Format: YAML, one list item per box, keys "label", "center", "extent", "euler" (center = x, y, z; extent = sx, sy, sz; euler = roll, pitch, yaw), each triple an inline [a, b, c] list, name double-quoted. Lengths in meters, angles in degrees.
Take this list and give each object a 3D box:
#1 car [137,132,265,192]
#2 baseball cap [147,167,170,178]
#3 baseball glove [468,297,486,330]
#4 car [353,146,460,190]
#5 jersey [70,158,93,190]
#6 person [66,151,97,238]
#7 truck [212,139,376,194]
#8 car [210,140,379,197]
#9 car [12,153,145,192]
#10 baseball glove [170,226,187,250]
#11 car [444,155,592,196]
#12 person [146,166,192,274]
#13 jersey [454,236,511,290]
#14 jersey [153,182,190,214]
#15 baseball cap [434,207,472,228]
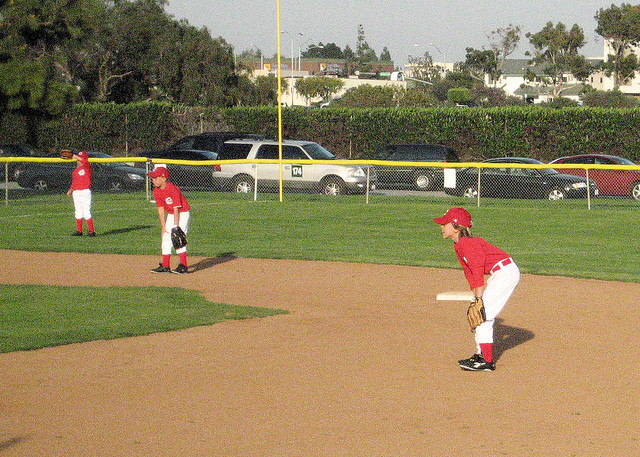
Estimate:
- label: "car"
  center: [-4.331, -2.379, 33.074]
  extent: [4.369, 1.591, 2.040]
  euler: [4, 6, 13]
- label: "baseball cap"
  center: [-3.220, -1.108, 18.779]
  extent: [0.347, 0.130, 0.218]
  euler: [0, 4, -22]
- label: "baseball glove"
  center: [2.433, 1.336, 14.766]
  extent: [0.310, 0.437, 0.137]
  euler: [-10, -16, 40]
- label: "car"
  center: [3.324, -2.170, 33.105]
  extent: [3.639, 1.305, 1.613]
  euler: [5, 6, 18]
- label: "jersey"
  center: [-5.730, -1.306, 22.498]
  extent: [0.430, 0.751, 0.420]
  euler: [-1, 6, -20]
- label: "person"
  center: [-5.825, -0.829, 23.056]
  extent: [0.663, 2.086, 1.463]
  euler: [0, 6, -13]
- label: "truck"
  center: [-1.038, -1.843, 31.360]
  extent: [4.823, 1.820, 2.206]
  euler: [0, 6, 10]
- label: "car"
  center: [-1.027, -1.959, 31.163]
  extent: [4.879, 1.683, 2.177]
  euler: [0, 5, 10]
- label: "car"
  center: [-8.374, -1.880, 33.228]
  extent: [4.109, 1.216, 1.870]
  euler: [-3, 4, 3]
- label: "baseball glove"
  center: [-2.834, 0.193, 18.832]
  extent: [0.319, 0.418, 0.186]
  euler: [-15, 9, -38]
- label: "car"
  center: [6.391, -1.702, 31.317]
  extent: [4.013, 1.220, 3.019]
  euler: [0, 6, -17]
- label: "person"
  center: [-3.081, -0.146, 19.190]
  extent: [0.781, 2.211, 0.950]
  euler: [1, 6, -8]
- label: "jersey"
  center: [2.565, 0.565, 14.925]
  extent: [0.890, 0.944, 0.709]
  euler: [-9, -6, -9]
- label: "jersey"
  center: [-3.132, -0.585, 19.066]
  extent: [0.658, 0.645, 0.393]
  euler: [-7, 16, 19]
- label: "baseball cap"
  center: [2.030, -0.176, 14.564]
  extent: [0.484, 0.246, 0.298]
  euler: [10, 6, 11]
